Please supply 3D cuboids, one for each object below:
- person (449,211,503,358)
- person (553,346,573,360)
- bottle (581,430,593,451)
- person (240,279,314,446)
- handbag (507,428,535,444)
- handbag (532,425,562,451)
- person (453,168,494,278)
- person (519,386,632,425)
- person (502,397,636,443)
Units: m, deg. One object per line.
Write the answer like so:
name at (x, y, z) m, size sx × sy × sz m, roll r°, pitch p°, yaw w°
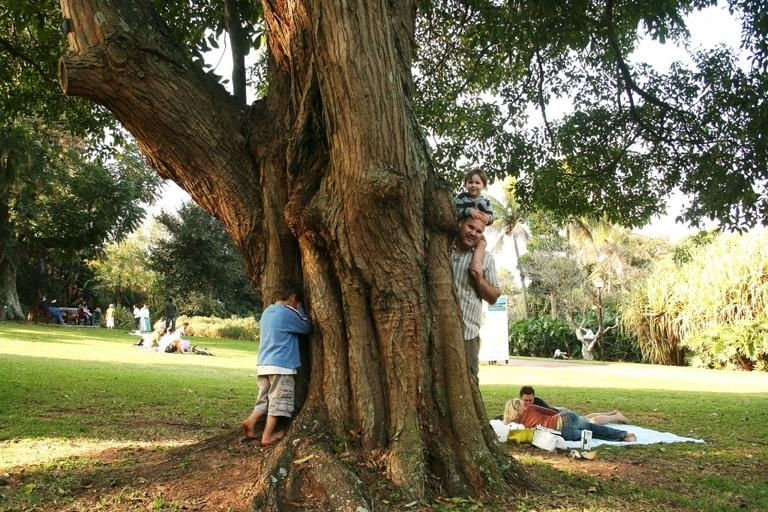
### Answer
person at (1.315, 0.467, 8.187) m, size 0.652 × 1.975 × 0.391 m, roll 7°, pitch -8°, yaw -26°
person at (10.257, 5.641, 32.615) m, size 1.120 × 0.508 × 0.699 m, roll 26°, pitch 3°, yaw -37°
bottle at (3.388, 3.071, 9.541) m, size 0.155 × 0.317 × 0.231 m, roll 1°, pitch -8°, yaw 16°
person at (-1.473, 1.520, 8.074) m, size 0.861 × 2.241 × 0.422 m, roll 3°, pitch -7°, yaw 0°
handbag at (2.416, 3.145, 9.963) m, size 0.244 × 0.152 × 0.334 m, roll 0°, pitch -3°, yaw 6°
handbag at (2.777, 3.126, 9.738) m, size 0.289 × 0.274 × 0.376 m, roll 12°, pitch -10°, yaw -34°
person at (1.316, -0.483, 8.367) m, size 0.528 × 1.543 × 0.467 m, roll 1°, pitch 16°, yaw 3°
person at (3.534, 2.911, 10.808) m, size 1.448 × 0.689 × 1.078 m, roll 2°, pitch -9°, yaw -5°
person at (3.198, 2.984, 10.285) m, size 1.443 × 0.441 × 1.024 m, roll 11°, pitch -9°, yaw 8°
